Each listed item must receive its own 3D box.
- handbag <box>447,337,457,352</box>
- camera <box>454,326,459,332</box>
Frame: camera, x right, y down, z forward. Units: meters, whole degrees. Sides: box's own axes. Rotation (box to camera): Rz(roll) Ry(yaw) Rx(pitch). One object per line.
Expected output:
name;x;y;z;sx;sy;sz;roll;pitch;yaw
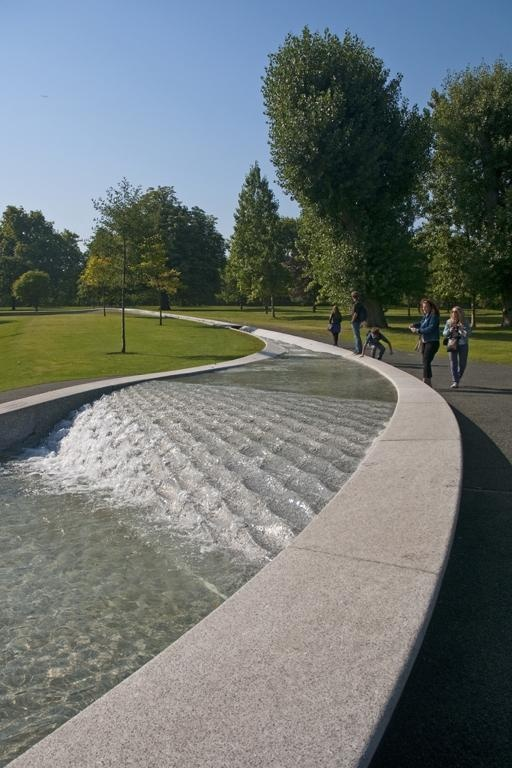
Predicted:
handbag;3.806;-0.760;10.350;0.162;0.261;0.194;1;6;18
camera;3.910;-1.087;10.392;0.056;0.118;0.050;0;6;16
